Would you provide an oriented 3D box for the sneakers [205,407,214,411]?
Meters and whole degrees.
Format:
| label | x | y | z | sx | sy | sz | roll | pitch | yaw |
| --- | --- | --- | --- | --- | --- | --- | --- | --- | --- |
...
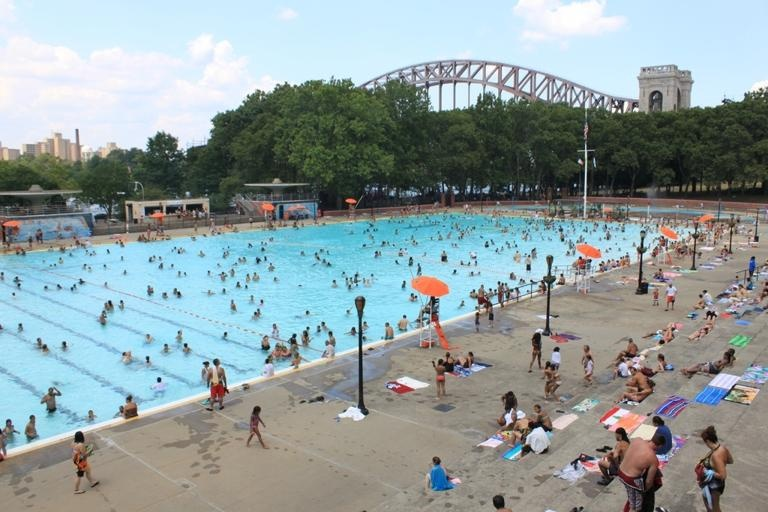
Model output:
| label | x | y | z | sx | sy | sz | roll | pitch | yaw |
| --- | --- | --- | --- | --- | --- | --- | --- | --- | --- |
| sneakers | -8.171 | 7.110 | 33.475 | 0.415 | 0.159 | 0.150 | 11 | 15 | 35 |

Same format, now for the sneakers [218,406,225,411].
| label | x | y | z | sx | sy | sz | roll | pitch | yaw |
| --- | --- | --- | --- | --- | --- | --- | --- | --- | --- |
| sneakers | -7.624 | 7.103 | 33.503 | 0.089 | 0.103 | 0.250 | 9 | 19 | 23 |
